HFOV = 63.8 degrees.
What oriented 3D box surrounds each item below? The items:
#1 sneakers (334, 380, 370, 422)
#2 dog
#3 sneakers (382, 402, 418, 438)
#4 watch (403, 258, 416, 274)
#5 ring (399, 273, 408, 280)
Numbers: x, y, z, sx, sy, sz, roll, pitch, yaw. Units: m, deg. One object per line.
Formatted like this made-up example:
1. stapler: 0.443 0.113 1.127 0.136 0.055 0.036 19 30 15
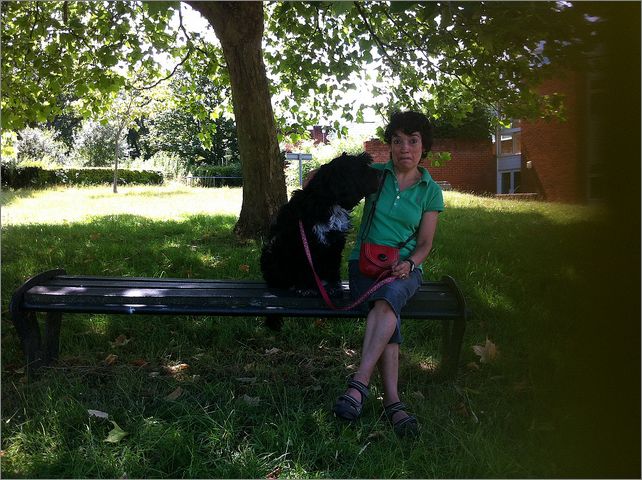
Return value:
1. sneakers: 0.155 0.839 2.676 0.124 0.199 0.178 10 14 39
2. dog: -0.038 -0.011 3.219 0.792 1.003 0.522 -5 -10 15
3. sneakers: 0.431 0.942 2.745 0.106 0.113 0.299 -19 2 -7
4. watch: 0.516 0.156 2.994 0.065 0.031 0.072 41 -2 -6
5. ring: 0.472 0.212 2.947 0.054 0.032 0.012 -2 11 -17
